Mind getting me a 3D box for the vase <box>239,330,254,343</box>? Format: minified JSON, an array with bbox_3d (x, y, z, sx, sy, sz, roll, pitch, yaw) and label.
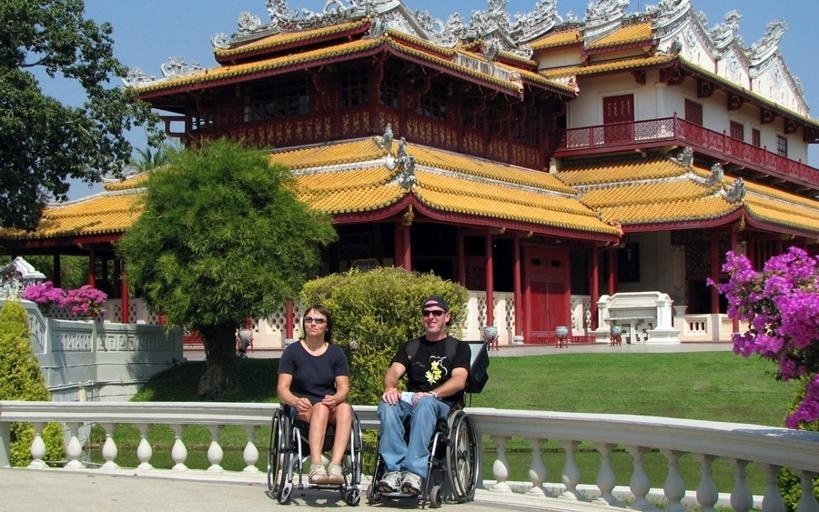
[{"bbox_3d":[-4.822,2.421,42.250,0.507,0.493,0.274,2,-2,3],"label":"vase"}]
